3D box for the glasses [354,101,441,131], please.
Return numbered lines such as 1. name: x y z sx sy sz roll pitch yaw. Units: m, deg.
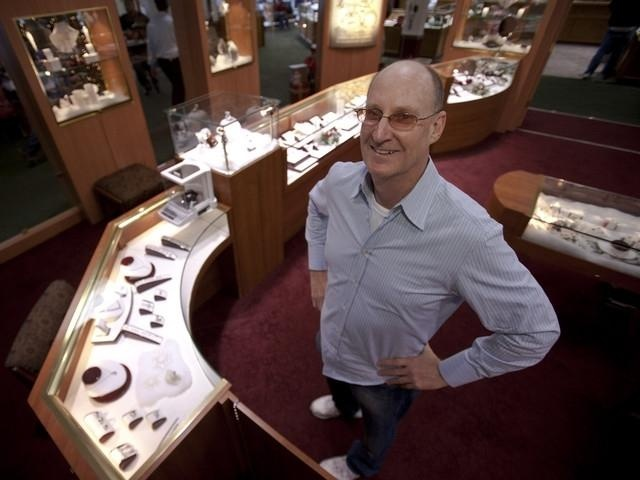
1. glasses: 0.437 -0.644 2.121 0.404 0.089 0.137 0 38 0
